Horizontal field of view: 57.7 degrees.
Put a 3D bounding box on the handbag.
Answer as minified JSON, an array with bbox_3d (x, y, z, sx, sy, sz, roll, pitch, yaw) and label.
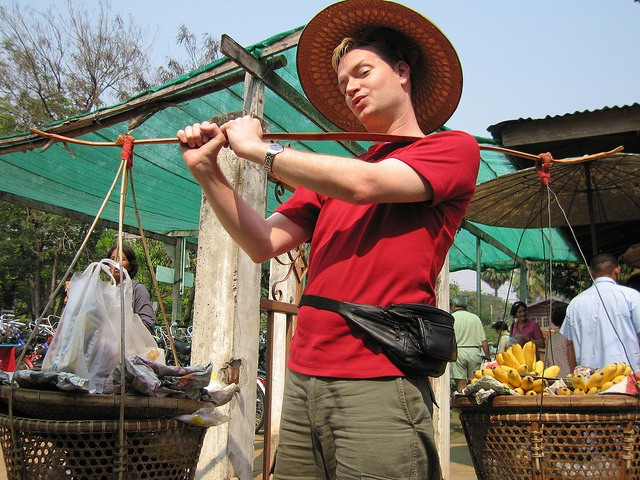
[{"bbox_3d":[0.253,0.424,2.507,0.695,0.285,0.565,-2,-13,36],"label":"handbag"}]
